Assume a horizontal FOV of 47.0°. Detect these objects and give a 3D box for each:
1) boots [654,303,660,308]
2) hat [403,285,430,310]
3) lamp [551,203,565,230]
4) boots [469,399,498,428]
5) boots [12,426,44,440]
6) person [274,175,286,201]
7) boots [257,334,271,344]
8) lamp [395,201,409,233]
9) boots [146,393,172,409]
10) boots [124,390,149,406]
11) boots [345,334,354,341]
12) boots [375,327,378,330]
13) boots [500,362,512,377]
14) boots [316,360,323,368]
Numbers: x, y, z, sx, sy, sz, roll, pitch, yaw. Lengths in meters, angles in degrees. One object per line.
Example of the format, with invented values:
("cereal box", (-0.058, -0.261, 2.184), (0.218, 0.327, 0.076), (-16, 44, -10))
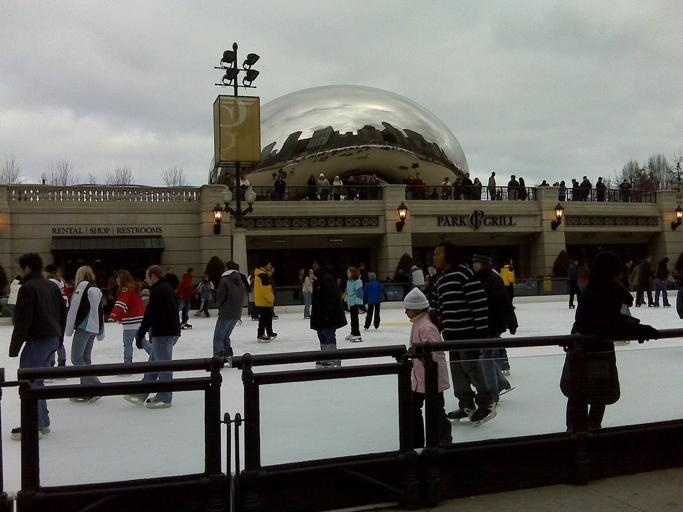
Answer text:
("boots", (10.054, 1.570, 25.072), (0.185, 0.197, 0.104), (0, -12, 1))
("hat", (0.816, 0.449, 8.708), (0.225, 0.193, 0.247), (-2, 5, -11))
("lamp", (10.273, -1.895, 37.378), (0.580, 1.243, 0.483), (-1, 0, -3))
("boots", (1.379, 1.520, 7.636), (0.151, 0.131, 0.303), (-24, -4, 38))
("boots", (-2.680, 1.515, 6.732), (0.307, 0.104, 0.104), (-1, 1, -4))
("person", (-2.710, -2.923, 34.566), (0.500, 0.858, 0.737), (-1, 1, -7))
("boots", (-1.780, 1.841, 17.510), (0.332, 0.154, 0.126), (-3, -3, 38))
("lamp", (2.636, -1.740, 34.621), (0.490, 0.965, 0.568), (-1, 1, 14))
("boots", (-1.600, 1.268, 6.875), (0.223, 0.116, 0.064), (-1, 1, -19))
("boots", (-1.792, 1.239, 6.875), (0.112, 0.061, 0.158), (-4, -6, 42))
("boots", (0.180, 1.803, 17.413), (0.147, 0.206, 0.453), (1, -3, -13))
("boots", (0.889, 1.798, 19.505), (0.095, 0.101, 0.052), (0, -3, -11))
("boots", (1.587, 1.099, 7.561), (0.079, 0.115, 0.106), (-5, -14, 16))
("boots", (-0.202, 0.989, 7.210), (0.061, 0.051, 0.056), (-1, 1, 0))
